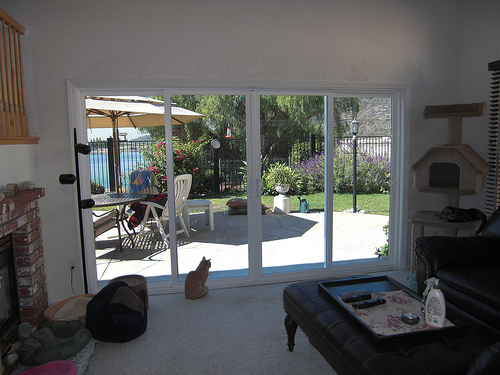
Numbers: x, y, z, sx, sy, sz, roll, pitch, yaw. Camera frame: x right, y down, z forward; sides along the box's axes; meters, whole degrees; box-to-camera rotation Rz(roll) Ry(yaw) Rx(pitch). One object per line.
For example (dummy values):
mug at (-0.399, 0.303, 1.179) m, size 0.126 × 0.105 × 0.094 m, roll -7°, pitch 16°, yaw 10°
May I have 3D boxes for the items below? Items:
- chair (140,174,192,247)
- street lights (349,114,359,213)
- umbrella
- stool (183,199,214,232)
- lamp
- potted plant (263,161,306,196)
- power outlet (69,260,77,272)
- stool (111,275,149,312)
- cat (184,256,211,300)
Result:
chair at (-1.039, 0.218, 4.593) m, size 0.625 × 0.814 × 0.588 m, roll 10°, pitch 10°, yaw 39°
street lights at (1.298, -0.266, 4.809) m, size 0.112 × 1.168 × 0.035 m, roll -6°, pitch 8°, yaw -27°
umbrella at (-1.311, -0.421, 4.640) m, size 1.113 × 0.979 × 1.002 m, roll -3°, pitch 4°, yaw -12°
stool at (-0.591, 0.306, 4.393) m, size 0.329 × 0.330 × 0.345 m, roll -1°, pitch 3°, yaw -8°
lamp at (-1.768, 0.293, 4.015) m, size 0.308 × 1.781 × 0.544 m, roll -6°, pitch 8°, yaw -26°
potted plant at (0.377, -0.075, 4.569) m, size 0.410 × 0.301 × 0.407 m, roll 1°, pitch 7°, yaw 3°
power outlet at (-1.926, 0.841, 4.211) m, size 0.093 × 0.106 × 0.024 m, roll 0°, pitch -3°, yaw -7°
stool at (-1.254, 1.123, 4.046) m, size 0.349 × 0.364 × 0.319 m, roll -2°, pitch 7°, yaw 3°
cat at (-0.582, 1.019, 4.398) m, size 0.146 × 0.415 × 0.366 m, roll 4°, pitch 10°, yaw 44°
